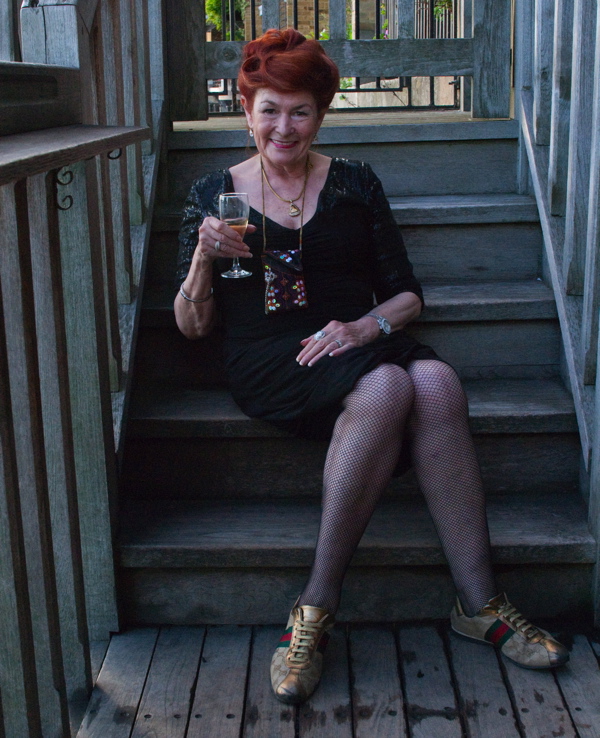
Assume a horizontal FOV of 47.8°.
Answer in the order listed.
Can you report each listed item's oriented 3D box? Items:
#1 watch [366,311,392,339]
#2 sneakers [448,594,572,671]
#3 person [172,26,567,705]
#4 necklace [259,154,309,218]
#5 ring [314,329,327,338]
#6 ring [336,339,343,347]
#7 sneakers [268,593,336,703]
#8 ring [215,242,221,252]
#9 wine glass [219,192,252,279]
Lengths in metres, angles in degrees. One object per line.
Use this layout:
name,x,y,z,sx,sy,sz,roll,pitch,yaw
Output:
watch,0.193,-0.107,1.607,0.057,0.064,0.041,5,44,45
sneakers,0.435,0.532,1.486,0.269,0.111,0.099,15,26,34
person,0.085,-0.094,1.547,0.621,1.349,0.904,-7,14,-24
necklace,-0.027,-0.443,1.691,0.121,0.154,0.151,-3,3,-4
ring,0.045,-0.081,1.519,0.018,0.007,0.019,-35,10,7
ring,0.086,-0.058,1.490,0.012,0.013,0.004,3,-27,-1
sneakers,-0.002,0.560,1.325,0.077,0.086,0.216,10,42,1
ring,-0.175,-0.263,1.437,0.012,0.017,0.005,-1,3,30
wine glass,-0.147,-0.297,1.544,0.068,0.197,0.257,-2,13,-4
